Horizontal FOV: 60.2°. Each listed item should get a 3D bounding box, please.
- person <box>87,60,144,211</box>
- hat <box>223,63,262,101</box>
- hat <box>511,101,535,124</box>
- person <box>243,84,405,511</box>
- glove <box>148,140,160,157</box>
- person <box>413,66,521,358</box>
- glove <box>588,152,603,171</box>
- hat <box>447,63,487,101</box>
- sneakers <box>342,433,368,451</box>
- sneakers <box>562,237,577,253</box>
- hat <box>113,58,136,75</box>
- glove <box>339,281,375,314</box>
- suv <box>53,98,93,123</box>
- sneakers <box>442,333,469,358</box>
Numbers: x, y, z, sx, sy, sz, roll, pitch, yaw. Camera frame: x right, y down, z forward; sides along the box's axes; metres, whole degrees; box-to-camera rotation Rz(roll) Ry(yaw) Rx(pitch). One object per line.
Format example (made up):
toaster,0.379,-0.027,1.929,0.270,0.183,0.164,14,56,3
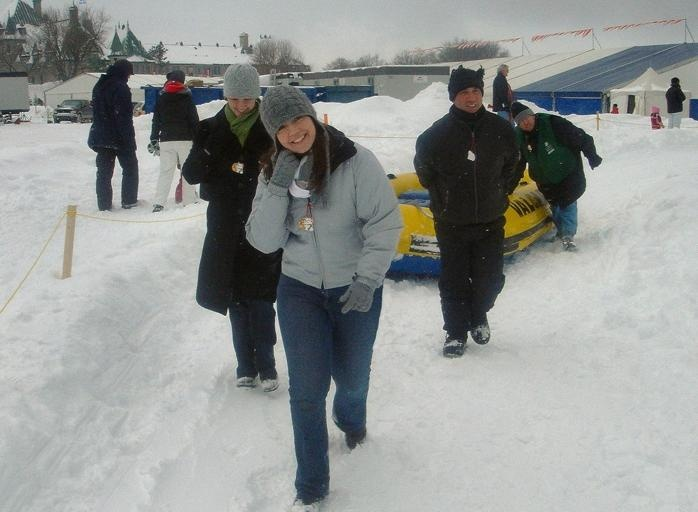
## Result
person,-3.605,-1.836,9.246,0.785,2.253,0.768,-10,17,-22
hat,-0.808,-1.310,4.576,0.273,0.225,0.292,-2,26,-5
hat,2.056,-1.745,7.264,0.287,0.258,0.217,-28,17,-18
person,-0.134,0.237,3.751,0.904,2.503,0.816,-6,16,-10
glove,-2.945,-1.608,9.009,0.205,0.209,0.216,4,2,14
person,1.099,-0.416,5.410,0.902,2.474,0.778,-4,16,-4
glove,2.861,-1.114,7.037,0.160,0.188,0.260,6,19,27
hat,1.067,-1.600,5.449,0.289,0.307,0.392,0,0,2
sneakers,0.053,1.298,4.274,0.126,0.136,0.125,0,-3,-17
sneakers,2.730,-0.140,7.480,0.086,0.121,0.259,-12,8,0
hat,-3.431,-2.889,9.181,0.263,0.305,0.365,-10,25,-12
glove,0.028,0.242,3.603,0.231,0.208,0.170,3,17,19
suv,-16.359,-8.531,35.609,1.762,1.290,3.317,-8,18,-16
sneakers,0.949,0.800,5.377,0.212,0.179,0.140,-1,16,6
